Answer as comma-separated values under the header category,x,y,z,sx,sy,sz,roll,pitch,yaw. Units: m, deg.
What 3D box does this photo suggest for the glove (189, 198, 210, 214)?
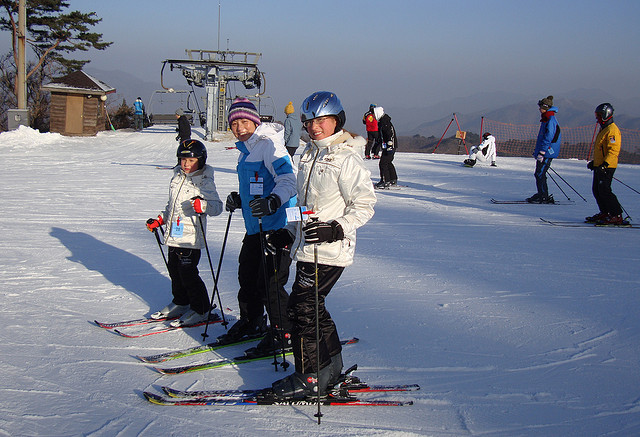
category,x,y,z,sx,sy,sz,roll,pitch,yaw
glove,-1.273,-0.134,7.041,0.203,0.208,0.222,-2,15,-11

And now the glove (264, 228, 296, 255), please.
category,x,y,z,sx,sy,sz,roll,pitch,yaw
glove,-0.374,0.210,6.299,0.292,0.198,0.128,-27,-24,-7

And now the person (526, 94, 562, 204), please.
category,x,y,z,sx,sy,sz,roll,pitch,yaw
person,4.260,-1.270,12.453,0.514,2.098,1.367,7,16,18

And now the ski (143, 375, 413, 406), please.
category,x,y,z,sx,sy,sz,roll,pitch,yaw
ski,-0.417,1.618,6.210,2.145,0.186,0.250,1,10,-3

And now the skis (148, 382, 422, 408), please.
category,x,y,z,sx,sy,sz,roll,pitch,yaw
skis,-0.324,1.650,6.173,2.481,0.109,0.239,0,45,0

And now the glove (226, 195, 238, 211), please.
category,x,y,z,sx,sy,sz,roll,pitch,yaw
glove,-0.892,-0.165,6.663,0.116,0.130,0.149,4,-3,38

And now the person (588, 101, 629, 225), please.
category,x,y,z,sx,sy,sz,roll,pitch,yaw
person,4.722,-0.874,10.795,0.478,1.949,0.730,-4,17,-20

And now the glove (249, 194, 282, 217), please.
category,x,y,z,sx,sy,sz,roll,pitch,yaw
glove,-0.516,-0.124,6.305,0.282,0.210,0.186,2,15,0

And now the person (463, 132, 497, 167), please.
category,x,y,z,sx,sy,sz,roll,pitch,yaw
person,4.658,-1.983,18.951,0.736,0.962,1.237,9,16,24

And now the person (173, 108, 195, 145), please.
category,x,y,z,sx,sy,sz,roll,pitch,yaw
person,-3.623,-2.207,17.438,0.573,1.208,0.516,5,7,-3

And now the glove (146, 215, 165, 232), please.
category,x,y,z,sx,sy,sz,roll,pitch,yaw
glove,-1.806,0.047,7.339,0.148,0.081,0.199,-12,11,23

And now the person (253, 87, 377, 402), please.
category,x,y,z,sx,sy,sz,roll,pitch,yaw
person,0.027,0.240,6.118,0.922,2.825,0.887,3,16,4

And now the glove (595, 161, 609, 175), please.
category,x,y,z,sx,sy,sz,roll,pitch,yaw
glove,4.576,-0.824,10.706,0.158,0.184,0.101,20,-8,19

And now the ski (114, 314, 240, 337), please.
category,x,y,z,sx,sy,sz,roll,pitch,yaw
ski,-1.547,1.158,7.150,1.006,0.119,0.129,-7,28,-21
